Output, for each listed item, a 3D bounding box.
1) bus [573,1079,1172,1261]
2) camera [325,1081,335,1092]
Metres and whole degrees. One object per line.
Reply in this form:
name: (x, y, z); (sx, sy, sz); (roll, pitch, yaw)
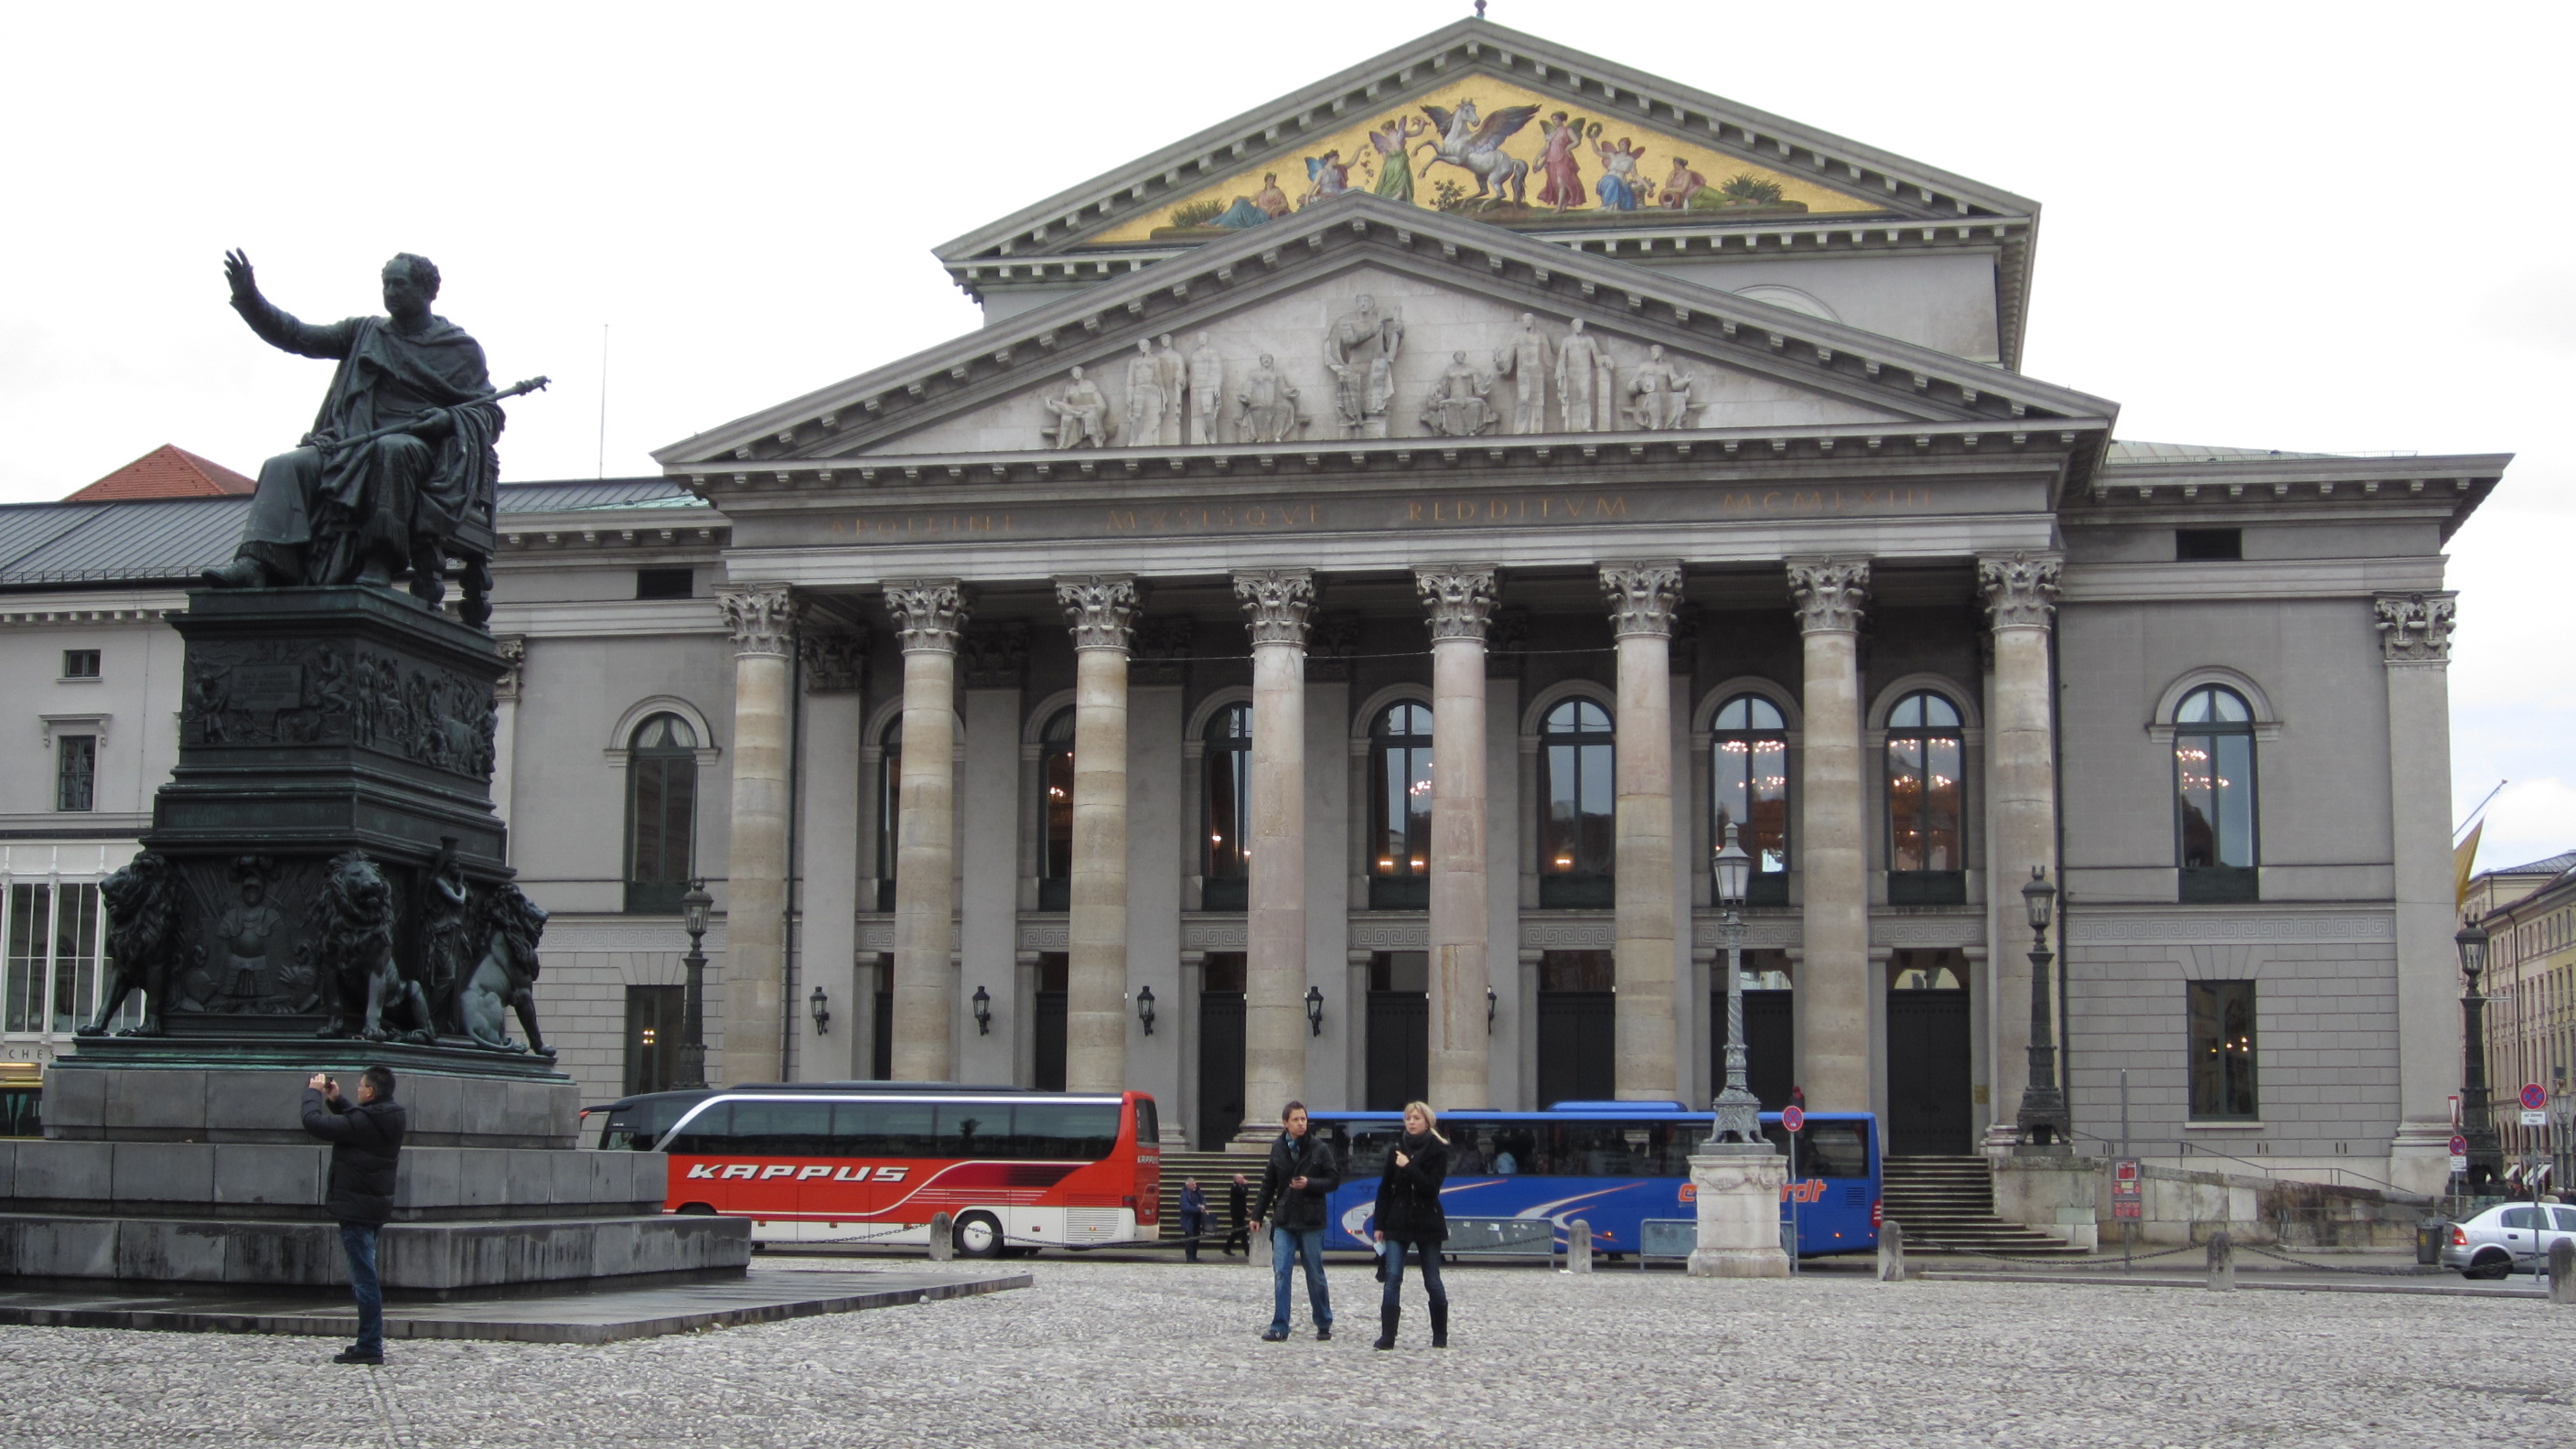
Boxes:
bus: (-8.954, 11.110, 112.218); (15.005, 4.396, 5.272); (0, -5, 2)
camera: (-16.441, 6.232, 77.029); (0.113, 0.145, 0.268); (-3, -10, 13)
